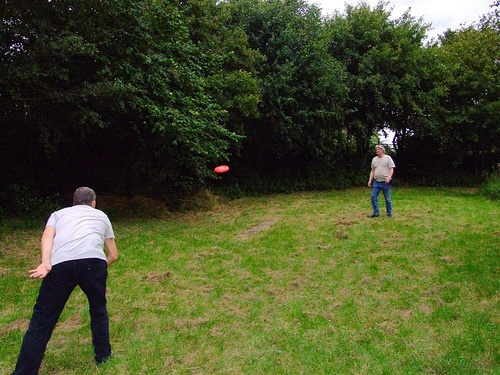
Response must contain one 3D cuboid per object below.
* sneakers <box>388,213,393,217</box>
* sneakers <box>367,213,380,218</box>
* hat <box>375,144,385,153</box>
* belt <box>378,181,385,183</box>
[{"bbox_3d":[4.261,0.822,12.726,0.172,0.115,0.131,-4,5,-39],"label":"sneakers"},{"bbox_3d":[3.771,0.857,12.745,0.366,0.183,0.133,4,0,26],"label":"sneakers"},{"bbox_3d":[3.758,-1.153,12.059,0.189,0.273,0.261,8,17,24],"label":"hat"},{"bbox_3d":[3.861,-0.170,12.238,0.180,0.049,0.044,1,7,22],"label":"belt"}]
